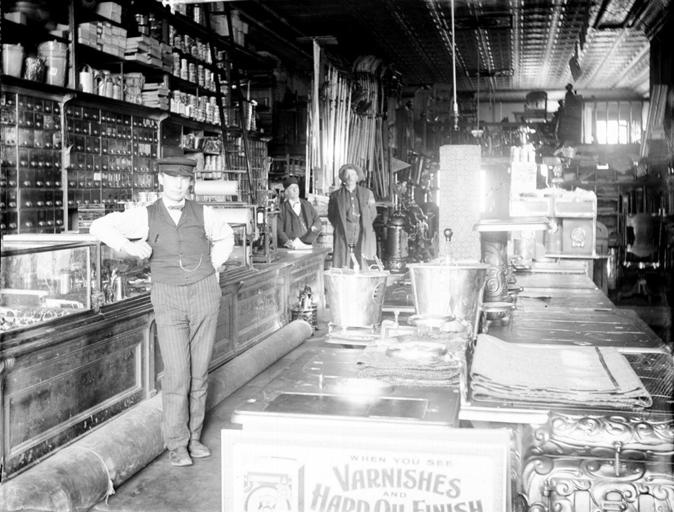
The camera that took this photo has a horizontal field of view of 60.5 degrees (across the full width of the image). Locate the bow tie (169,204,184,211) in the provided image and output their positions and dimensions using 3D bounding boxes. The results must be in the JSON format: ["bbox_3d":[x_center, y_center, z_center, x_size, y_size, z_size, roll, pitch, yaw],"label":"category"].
[{"bbox_3d":[-0.998,-0.297,3.616,0.055,0.019,0.038,-20,7,34],"label":"bow tie"}]

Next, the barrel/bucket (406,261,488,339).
[{"bbox_3d":[0.521,0.197,2.680,0.298,0.273,0.338,1,-4,-2],"label":"barrel/bucket"}]

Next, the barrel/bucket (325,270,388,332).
[{"bbox_3d":[0.086,0.205,2.723,0.245,0.212,0.259,0,-3,0],"label":"barrel/bucket"}]

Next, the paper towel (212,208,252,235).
[{"bbox_3d":[-1.003,-0.388,5.744,0.340,0.245,0.269,5,25,8],"label":"paper towel"}]

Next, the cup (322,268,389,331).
[{"bbox_3d":[0.084,0.197,2.695,0.248,0.215,0.259,0,-3,0],"label":"cup"}]

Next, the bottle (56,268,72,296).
[{"bbox_3d":[-1.677,0.157,3.577,0.076,0.165,0.061,-5,8,-27],"label":"bottle"}]

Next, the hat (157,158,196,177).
[{"bbox_3d":[-0.990,-0.553,3.594,0.221,0.120,0.169,-4,8,-18],"label":"hat"}]

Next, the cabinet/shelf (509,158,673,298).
[{"bbox_3d":[3.531,-0.356,7.920,2.394,1.831,1.627,0,0,4],"label":"cabinet/shelf"}]

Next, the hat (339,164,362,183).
[{"bbox_3d":[0.177,-1.167,8.181,0.293,0.111,0.296,4,5,-5],"label":"hat"}]

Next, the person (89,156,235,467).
[{"bbox_3d":[-1.043,0.354,3.690,0.774,1.937,0.396,-3,7,-13],"label":"person"}]
